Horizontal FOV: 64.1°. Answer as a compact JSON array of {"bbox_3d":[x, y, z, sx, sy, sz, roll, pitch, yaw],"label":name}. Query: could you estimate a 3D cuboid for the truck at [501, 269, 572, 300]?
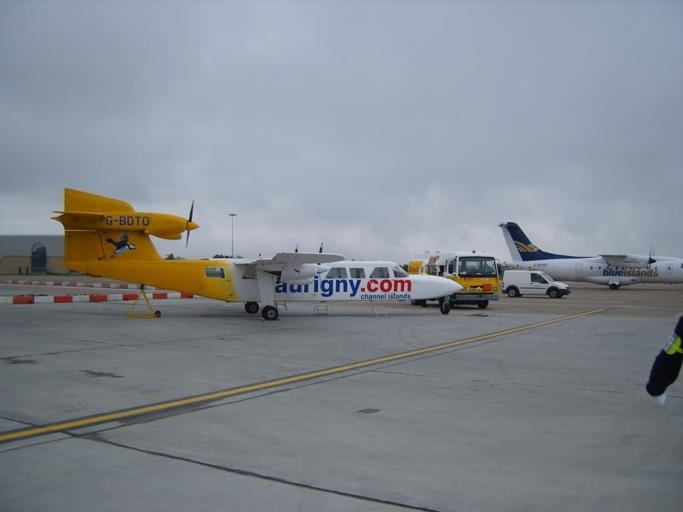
[{"bbox_3d":[12.431,1.804,34.818,3.517,1.286,1.905,-2,0,24],"label":"truck"}]
